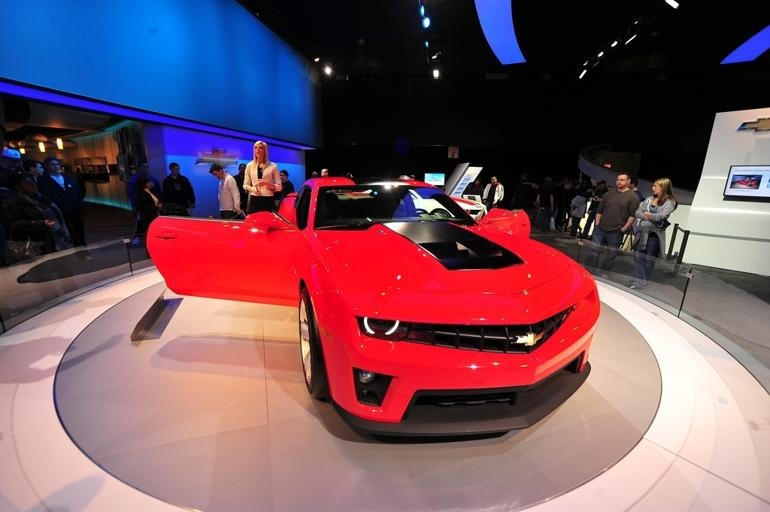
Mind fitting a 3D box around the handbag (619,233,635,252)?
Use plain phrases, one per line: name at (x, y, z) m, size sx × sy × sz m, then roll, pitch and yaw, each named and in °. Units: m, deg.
handbag at (4.106, -0.243, 7.275) m, size 0.174 × 0.330 × 0.169 m, roll -22°, pitch 35°, yaw -19°
